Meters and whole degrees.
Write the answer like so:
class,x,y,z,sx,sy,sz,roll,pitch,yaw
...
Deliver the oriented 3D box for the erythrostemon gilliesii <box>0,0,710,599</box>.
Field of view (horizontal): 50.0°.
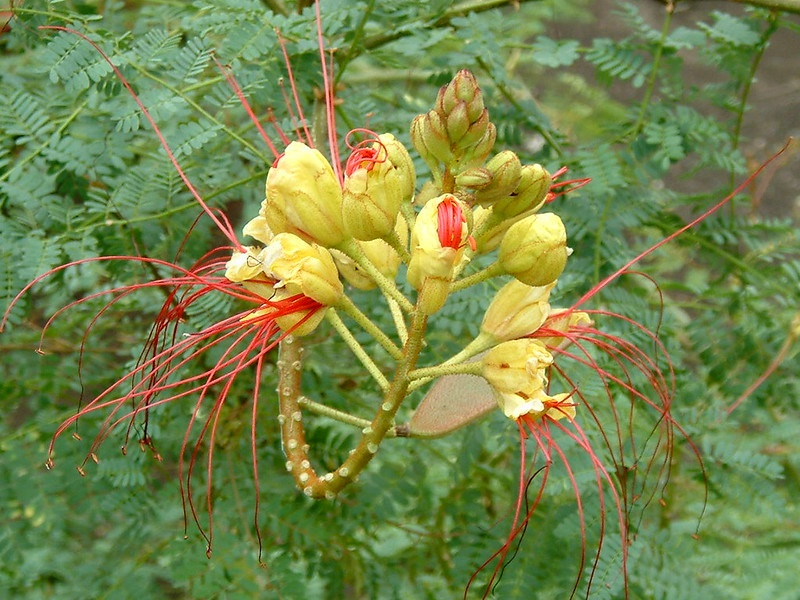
class,x,y,z,sx,sy,sz,roll,pitch,yaw
erythrostemon gilliesii,-0.066,0.236,2.641,1.505,1.782,1.243,24,64,12
